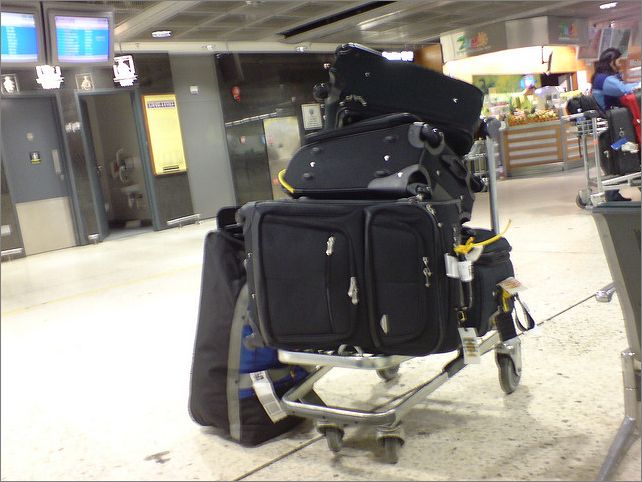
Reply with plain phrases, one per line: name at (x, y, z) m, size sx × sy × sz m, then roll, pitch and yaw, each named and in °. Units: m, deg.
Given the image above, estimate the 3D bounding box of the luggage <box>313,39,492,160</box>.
luggage at (0.344, -0.489, 1.904) m, size 0.598 × 0.234 × 0.444 m, roll 10°, pitch -3°, yaw 5°

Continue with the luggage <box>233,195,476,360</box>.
luggage at (0.116, 0.127, 1.715) m, size 0.747 × 0.492 × 0.425 m, roll 0°, pitch 1°, yaw 15°

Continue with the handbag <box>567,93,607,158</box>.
handbag at (2.220, -0.994, 4.060) m, size 0.350 × 0.417 × 0.183 m, roll 3°, pitch 0°, yaw 10°

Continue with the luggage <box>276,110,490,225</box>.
luggage at (0.233, -0.256, 1.968) m, size 0.763 × 0.261 × 0.757 m, roll -2°, pitch -7°, yaw 23°

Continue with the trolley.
trolley at (0.245, 0.086, 1.949) m, size 0.837 × 1.048 × 1.051 m, roll 0°, pitch 10°, yaw 27°
